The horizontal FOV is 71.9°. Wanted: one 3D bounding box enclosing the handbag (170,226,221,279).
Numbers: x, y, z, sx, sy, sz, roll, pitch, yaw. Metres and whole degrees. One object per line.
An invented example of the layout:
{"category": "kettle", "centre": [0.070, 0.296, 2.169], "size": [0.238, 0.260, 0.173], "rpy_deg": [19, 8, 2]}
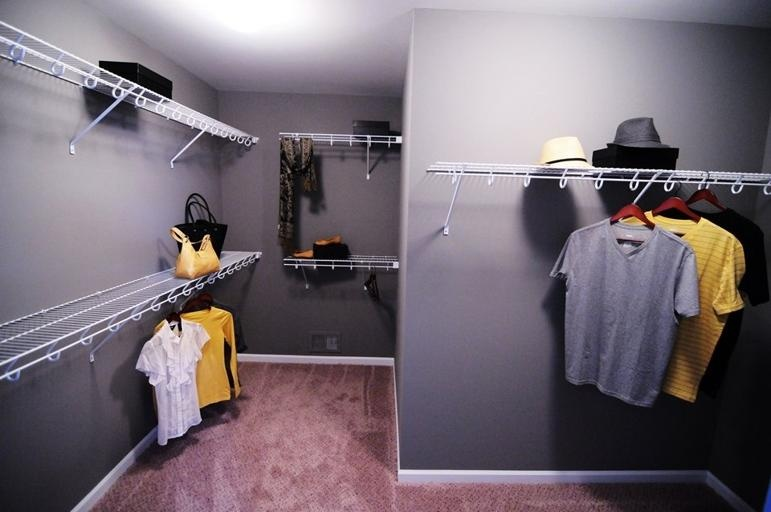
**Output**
{"category": "handbag", "centre": [-1.367, -0.023, 3.901], "size": [0.188, 0.326, 0.330], "rpy_deg": [7, 7, 24]}

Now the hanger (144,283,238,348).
{"category": "hanger", "centre": [-1.474, 0.467, 4.003], "size": [0.545, 0.365, 0.072], "rpy_deg": [-1, 15, -18]}

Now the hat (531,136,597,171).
{"category": "hat", "centre": [1.126, -0.647, 3.448], "size": [0.382, 0.195, 0.420], "rpy_deg": [-10, 5, -39]}
